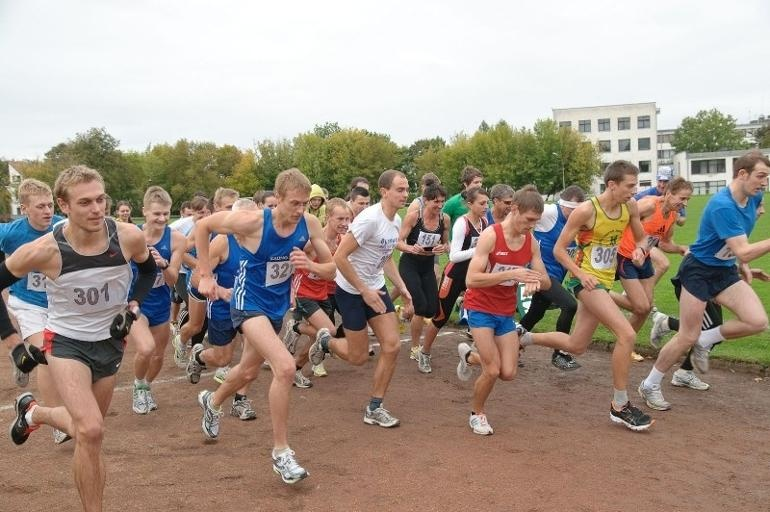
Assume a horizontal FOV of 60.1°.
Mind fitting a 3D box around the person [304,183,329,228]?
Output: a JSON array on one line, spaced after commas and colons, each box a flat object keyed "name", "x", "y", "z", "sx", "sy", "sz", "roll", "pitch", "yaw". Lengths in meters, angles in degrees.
[{"name": "person", "x": -1.207, "y": -0.828, "z": 11.761, "sx": 0.331, "sy": 0.884, "sz": 0.295, "roll": 5, "pitch": -14, "yaw": -15}]

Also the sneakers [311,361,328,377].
[{"name": "sneakers", "x": -0.963, "y": 1.678, "z": 9.802, "sx": 0.140, "sy": 0.225, "sz": 0.333, "roll": 3, "pitch": -3, "yaw": -32}]

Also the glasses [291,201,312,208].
[{"name": "glasses", "x": -0.871, "y": -0.530, "z": 6.870, "sx": 0.114, "sy": 0.085, "sz": 0.241, "roll": 4, "pitch": 11, "yaw": 26}]

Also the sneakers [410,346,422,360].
[{"name": "sneakers", "x": 0.474, "y": 1.523, "z": 10.399, "sx": 0.109, "sy": 0.121, "sz": 0.275, "roll": 1, "pitch": 2, "yaw": 20}]

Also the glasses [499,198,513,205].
[{"name": "glasses", "x": 1.722, "y": -0.767, "z": 9.503, "sx": 0.216, "sy": 0.070, "sz": 0.214, "roll": 2, "pitch": -2, "yaw": -31}]

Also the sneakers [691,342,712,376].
[{"name": "sneakers", "x": 4.102, "y": 1.304, "z": 8.588, "sx": 0.168, "sy": 0.448, "sz": 0.202, "roll": -17, "pitch": 2, "yaw": -31}]

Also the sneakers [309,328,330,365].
[{"name": "sneakers", "x": -0.861, "y": 1.223, "z": 9.053, "sx": 0.267, "sy": 0.222, "sz": 0.609, "roll": 6, "pitch": 13, "yaw": 2}]

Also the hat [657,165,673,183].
[{"name": "hat", "x": 4.883, "y": -1.434, "z": 11.656, "sx": 0.280, "sy": 0.231, "sz": 0.468, "roll": 2, "pitch": 4, "yaw": 31}]

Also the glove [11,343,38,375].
[{"name": "glove", "x": -3.464, "y": 0.959, "z": 6.350, "sx": 0.422, "sy": 0.149, "sz": 0.186, "roll": 25, "pitch": -18, "yaw": 41}]

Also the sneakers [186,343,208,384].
[{"name": "sneakers", "x": -2.535, "y": 1.489, "z": 9.135, "sx": 0.291, "sy": 0.634, "sz": 0.228, "roll": 14, "pitch": 15, "yaw": 38}]

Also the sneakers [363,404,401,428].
[{"name": "sneakers", "x": -0.054, "y": 1.920, "z": 7.959, "sx": 0.452, "sy": 0.219, "sz": 0.198, "roll": 2, "pitch": -2, "yaw": 21}]

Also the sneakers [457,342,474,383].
[{"name": "sneakers", "x": 0.996, "y": 1.400, "z": 8.482, "sx": 0.208, "sy": 0.576, "sz": 0.283, "roll": 0, "pitch": 31, "yaw": -1}]

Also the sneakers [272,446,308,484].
[{"name": "sneakers", "x": -0.957, "y": 2.052, "z": 6.617, "sx": 0.250, "sy": 0.258, "sz": 0.583, "roll": -9, "pitch": 6, "yaw": -31}]

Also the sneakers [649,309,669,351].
[{"name": "sneakers", "x": 4.052, "y": 1.074, "z": 9.715, "sx": 0.211, "sy": 0.491, "sz": 0.173, "roll": 36, "pitch": -10, "yaw": 24}]

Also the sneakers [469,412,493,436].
[{"name": "sneakers", "x": 1.108, "y": 1.950, "z": 7.691, "sx": 0.161, "sy": 0.134, "sz": 0.302, "roll": 0, "pitch": 0, "yaw": -23}]

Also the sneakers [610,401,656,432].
[{"name": "sneakers", "x": 2.853, "y": 1.849, "z": 7.765, "sx": 0.511, "sy": 0.252, "sz": 0.233, "roll": 7, "pitch": 22, "yaw": 35}]

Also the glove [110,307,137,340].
[{"name": "glove", "x": -2.468, "y": 0.646, "z": 6.221, "sx": 0.202, "sy": 0.275, "sz": 0.119, "roll": 41, "pitch": 4, "yaw": 30}]

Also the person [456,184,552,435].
[{"name": "person", "x": 1.357, "y": 0.613, "z": 7.771, "sx": 1.005, "sy": 2.791, "sz": 0.976, "roll": 2, "pitch": 11, "yaw": 15}]

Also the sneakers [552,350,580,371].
[{"name": "sneakers", "x": 2.620, "y": 1.542, "z": 9.700, "sx": 0.218, "sy": 0.204, "sz": 0.439, "roll": -2, "pitch": -2, "yaw": -28}]
